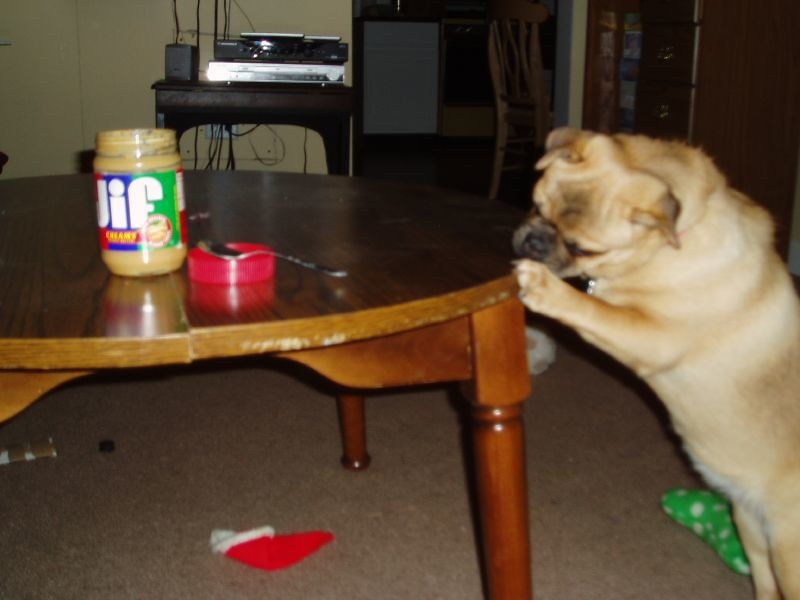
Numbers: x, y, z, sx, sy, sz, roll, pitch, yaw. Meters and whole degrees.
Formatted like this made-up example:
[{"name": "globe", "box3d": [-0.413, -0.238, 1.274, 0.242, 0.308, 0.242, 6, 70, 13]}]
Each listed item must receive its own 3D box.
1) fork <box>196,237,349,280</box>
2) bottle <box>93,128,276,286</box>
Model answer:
[{"name": "fork", "box3d": [-0.218, -0.068, 1.104, 0.169, 0.018, 0.030, 17, 37, 1]}, {"name": "bottle", "box3d": [-0.383, -0.168, 1.097, 0.228, 0.227, 0.129, -12, 17, -35]}]
